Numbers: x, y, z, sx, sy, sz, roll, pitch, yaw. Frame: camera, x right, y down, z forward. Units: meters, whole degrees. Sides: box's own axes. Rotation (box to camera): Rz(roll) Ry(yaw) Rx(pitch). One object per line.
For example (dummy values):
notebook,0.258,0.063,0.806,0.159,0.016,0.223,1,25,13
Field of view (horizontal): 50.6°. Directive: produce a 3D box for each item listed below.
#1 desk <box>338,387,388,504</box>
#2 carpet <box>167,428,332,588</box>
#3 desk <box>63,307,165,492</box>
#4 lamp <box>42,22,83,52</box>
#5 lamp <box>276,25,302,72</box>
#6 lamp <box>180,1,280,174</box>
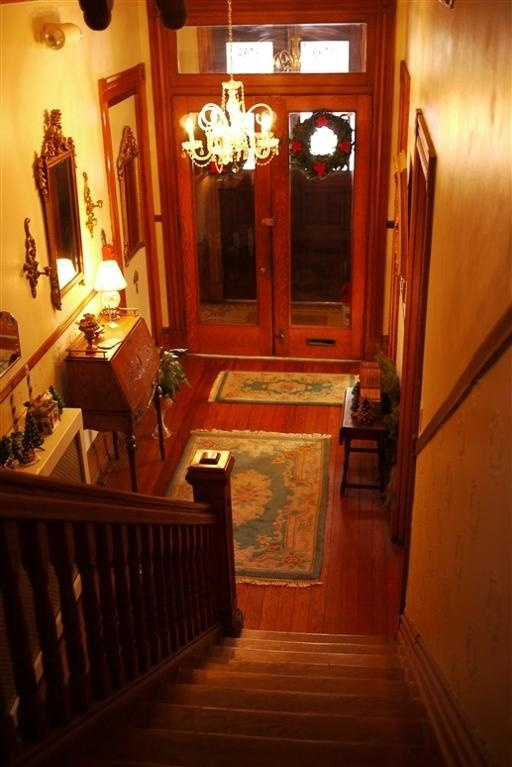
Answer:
desk,0.976,0.481,4.882,0.323,0.646,0.990,1,20,12
carpet,0.117,1.122,4.636,0.853,0.046,1.739,0,36,2
desk,-1.172,0.159,4.749,0.610,1.364,1.107,1,22,6
lamp,-1.375,-2.453,3.805,0.175,0.203,0.347,-1,20,1
lamp,0.360,-3.622,5.866,0.316,0.652,0.348,3,32,6
lamp,-0.253,-3.041,5.469,1.077,1.713,1.901,-3,19,-7
